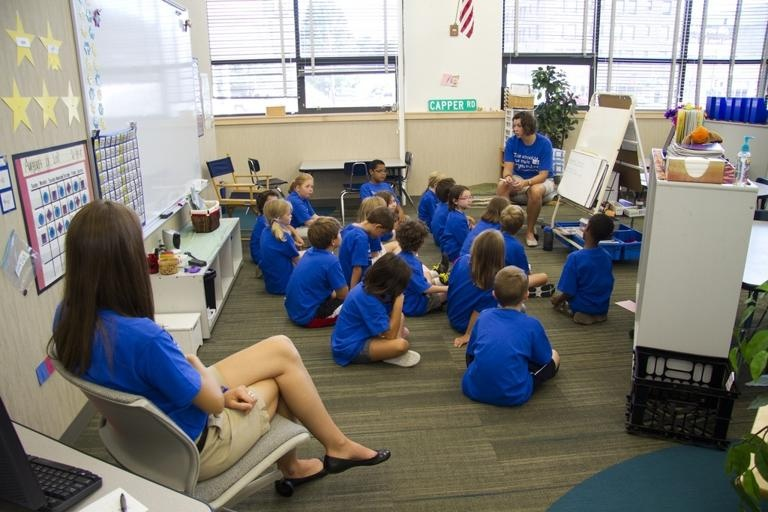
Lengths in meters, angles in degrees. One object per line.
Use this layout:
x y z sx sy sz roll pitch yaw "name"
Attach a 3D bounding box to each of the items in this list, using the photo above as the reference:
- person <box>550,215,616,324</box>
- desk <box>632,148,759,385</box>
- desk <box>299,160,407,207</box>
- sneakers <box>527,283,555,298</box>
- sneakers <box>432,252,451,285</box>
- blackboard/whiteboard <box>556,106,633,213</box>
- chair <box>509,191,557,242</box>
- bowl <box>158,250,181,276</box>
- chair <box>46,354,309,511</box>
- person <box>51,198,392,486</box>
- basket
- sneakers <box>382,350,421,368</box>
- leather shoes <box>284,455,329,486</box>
1.716 0.114 4.458 0.472 0.857 0.406 -3 19 -2 "person"
1.925 -0.174 3.405 0.389 0.790 0.846 14 24 34 "desk"
-0.658 -1.199 8.166 1.329 0.706 0.748 -1 29 -2 "desk"
1.456 0.334 4.891 0.315 0.147 0.110 -7 14 -10 "sneakers"
0.575 0.134 5.154 0.117 0.255 0.362 1 10 5 "sneakers"
2.294 -1.104 5.730 0.481 1.037 0.842 -3 20 -4 "blackboard/whiteboard"
1.834 -0.465 6.562 0.569 0.857 0.620 2 6 4 "chair"
-1.698 0.053 4.188 0.162 0.239 0.169 3 16 -1 "bowl"
-0.837 0.788 2.295 0.538 0.730 0.551 22 35 30 "chair"
-0.754 0.549 2.643 1.322 1.664 0.712 -14 12 -42 "person"
1.781 0.839 3.136 0.566 0.393 0.589 4 9 18 "basket"
0.137 0.774 3.871 0.199 0.045 0.122 -9 47 -1 "sneakers"
-0.427 1.214 2.909 0.250 0.062 0.124 -7 11 -27 "leather shoes"
